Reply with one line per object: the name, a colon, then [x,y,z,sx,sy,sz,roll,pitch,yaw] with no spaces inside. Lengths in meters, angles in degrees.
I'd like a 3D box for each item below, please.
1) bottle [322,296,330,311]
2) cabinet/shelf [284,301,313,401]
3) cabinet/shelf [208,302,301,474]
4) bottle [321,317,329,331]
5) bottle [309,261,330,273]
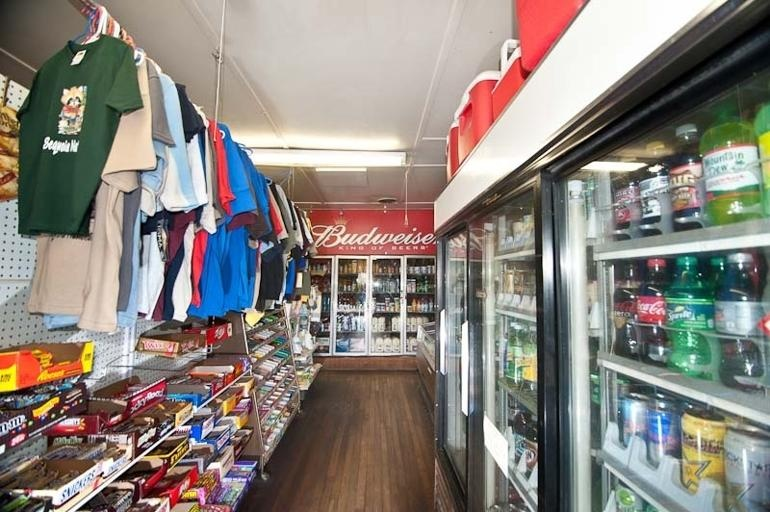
bottle: [-0.892,0.708,7.354,0.097,0.259,0.159,1,4,-10]
cabinet/shelf: [-0.971,1.073,5.440,0.315,0.934,0.978,-3,-8,-8]
cabinet/shelf: [-1.241,1.022,4.507,0.502,1.305,1.402,8,-1,11]
bottle: [-0.896,1.011,7.294,0.128,0.204,0.082,2,3,8]
bottle: [-0.996,0.164,7.507,0.378,0.252,0.069,4,4,29]
